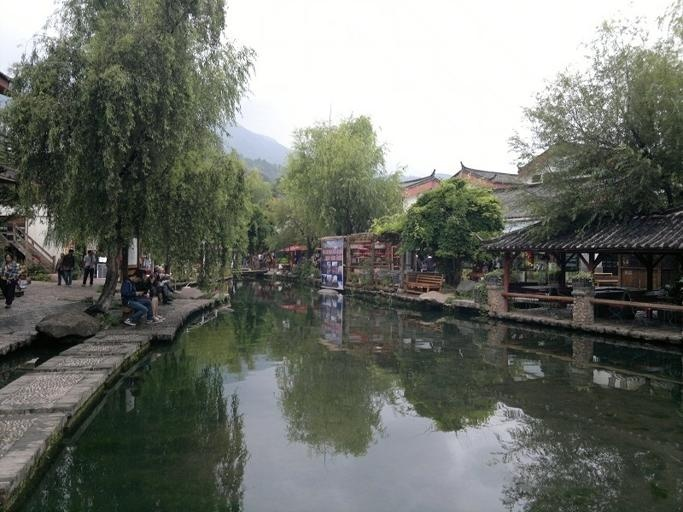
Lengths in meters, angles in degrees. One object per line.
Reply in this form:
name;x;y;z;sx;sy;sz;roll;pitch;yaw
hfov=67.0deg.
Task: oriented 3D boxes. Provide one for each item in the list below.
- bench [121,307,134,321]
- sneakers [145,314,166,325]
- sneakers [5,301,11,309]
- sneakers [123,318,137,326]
bench;-6.453;1.752;15.575;0.297;0.398;0.325;0;-7;-1
sneakers;-5.631;1.953;15.696;0.523;0.262;0.222;-1;-1;-13
sneakers;-10.763;1.592;16.719;0.152;0.197;0.440;2;-8;-37
sneakers;-6.146;1.959;15.132;0.480;0.234;0.166;10;3;42
